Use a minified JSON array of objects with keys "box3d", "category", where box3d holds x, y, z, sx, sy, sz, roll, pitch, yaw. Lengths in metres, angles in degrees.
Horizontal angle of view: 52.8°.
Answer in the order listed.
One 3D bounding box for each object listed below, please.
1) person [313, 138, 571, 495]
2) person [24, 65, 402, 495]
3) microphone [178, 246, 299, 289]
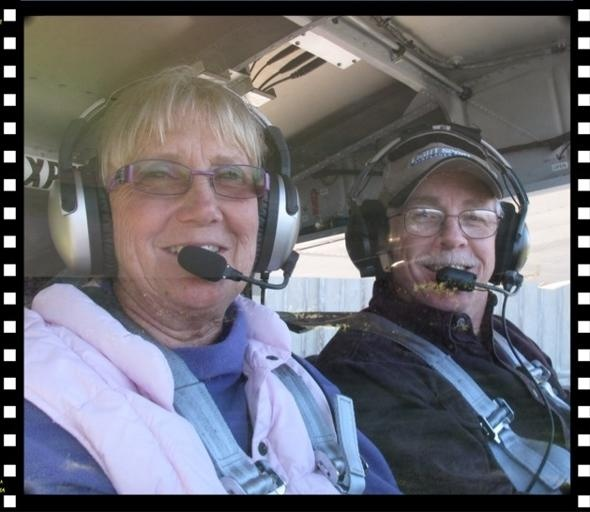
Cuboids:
[{"box3d":[0.497,0.166,2.077,0.870,1.228,0.651,1,-16,-25],"category":"person"},{"box3d":[-0.333,0.179,1.973,0.876,1.324,0.505,-1,2,-8],"category":"person"},{"box3d":[-0.147,0.046,1.818,0.216,0.110,0.266,15,6,-32],"category":"microphone"}]
